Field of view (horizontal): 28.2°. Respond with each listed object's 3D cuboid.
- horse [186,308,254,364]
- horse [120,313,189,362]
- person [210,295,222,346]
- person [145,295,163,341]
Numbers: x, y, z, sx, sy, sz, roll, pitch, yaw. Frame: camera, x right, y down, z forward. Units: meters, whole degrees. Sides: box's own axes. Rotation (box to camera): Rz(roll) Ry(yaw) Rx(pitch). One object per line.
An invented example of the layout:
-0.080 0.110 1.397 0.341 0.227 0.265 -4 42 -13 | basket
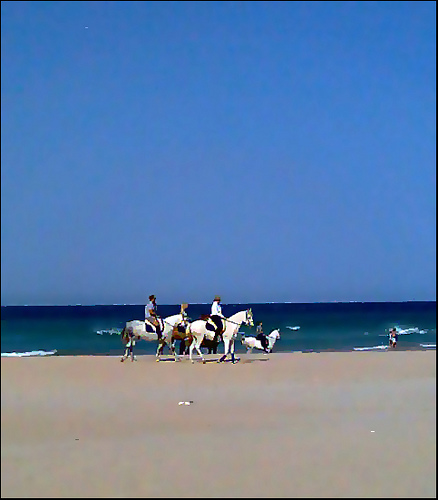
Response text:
-0.015 2.567 25.673 1.909 1.592 1.956 1 -3 -20 | horse
-1.826 2.657 25.901 2.068 1.583 0.566 -5 -25 16 | horse
-0.045 2.023 25.072 0.330 1.312 0.997 0 -3 -1 | person
-1.880 2.031 25.518 0.459 1.279 0.475 0 -2 -5 | person
